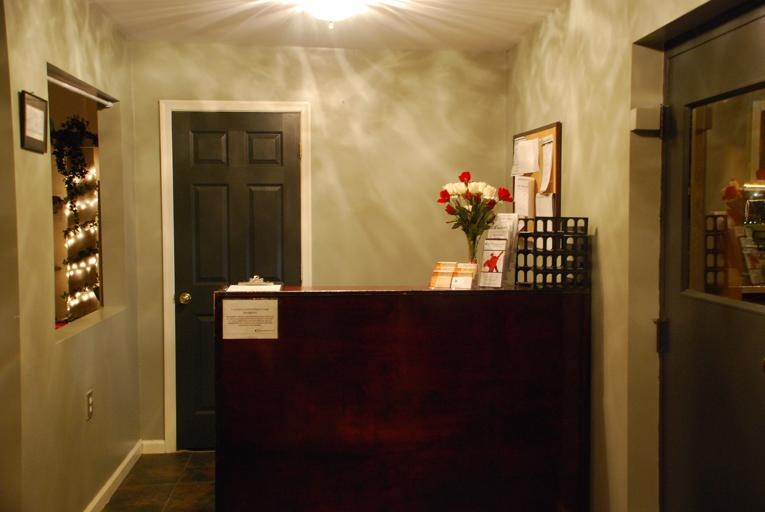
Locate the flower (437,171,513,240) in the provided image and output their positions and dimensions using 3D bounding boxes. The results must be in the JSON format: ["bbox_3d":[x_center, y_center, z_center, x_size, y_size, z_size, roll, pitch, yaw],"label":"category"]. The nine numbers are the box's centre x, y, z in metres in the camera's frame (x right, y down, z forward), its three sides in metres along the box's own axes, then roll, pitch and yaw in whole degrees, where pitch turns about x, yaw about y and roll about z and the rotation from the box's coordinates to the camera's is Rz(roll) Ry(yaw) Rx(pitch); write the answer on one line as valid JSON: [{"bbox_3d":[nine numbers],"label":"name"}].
[{"bbox_3d":[0.549,-0.289,3.698,0.403,0.366,0.411,-3,-8,14],"label":"flower"}]
